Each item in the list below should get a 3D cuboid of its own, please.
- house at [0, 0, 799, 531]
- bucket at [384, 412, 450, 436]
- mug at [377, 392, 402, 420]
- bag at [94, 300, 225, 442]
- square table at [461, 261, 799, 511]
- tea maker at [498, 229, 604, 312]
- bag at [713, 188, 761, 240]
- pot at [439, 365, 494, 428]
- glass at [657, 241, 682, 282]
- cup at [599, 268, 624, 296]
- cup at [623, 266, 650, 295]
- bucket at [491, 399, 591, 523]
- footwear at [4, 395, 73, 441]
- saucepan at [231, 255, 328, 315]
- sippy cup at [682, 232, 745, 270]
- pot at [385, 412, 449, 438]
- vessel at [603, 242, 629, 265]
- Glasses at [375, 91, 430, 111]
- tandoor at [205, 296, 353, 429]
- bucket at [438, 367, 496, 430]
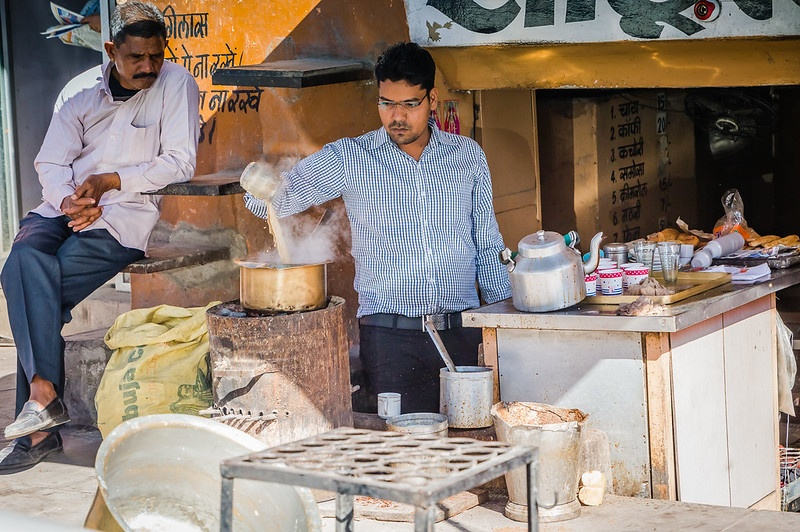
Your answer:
[{"bbox_3d":[-0.084,-0.045,5.634,3.888,3.463,1.280,5,17,23],"label":"house"},{"bbox_3d":[0.096,0.898,4.729,0.238,0.094,0.244,1,2,0],"label":"bucket"},{"bbox_3d":[-0.057,0.832,4.988,0.142,0.139,0.145,1,5,12],"label":"mug"},{"bbox_3d":[-1.694,0.804,6.058,0.916,0.915,0.677,-3,6,-23],"label":"bag"},{"bbox_3d":[1.491,0.154,5.244,1.331,1.291,2.589,1,5,31],"label":"square table"},{"bbox_3d":[0.908,0.013,5.059,0.568,0.423,0.423,-8,9,-20],"label":"tea maker"},{"bbox_3d":[2.635,-0.393,6.600,0.310,0.434,0.593,-4,-1,23],"label":"bag"},{"bbox_3d":[0.413,0.777,4.971,0.310,0.347,0.330,0,-1,0],"label":"pot"},{"bbox_3d":[1.737,-0.015,5.400,0.247,0.260,0.257,-1,0,24],"label":"glass"},{"bbox_3d":[1.292,0.106,5.114,0.149,0.145,0.145,-2,0,0],"label":"cup"},{"bbox_3d":[1.462,0.095,5.194,0.145,0.148,0.158,0,1,0],"label":"cup"},{"bbox_3d":[0.757,1.053,4.438,0.607,0.619,0.580,-1,-1,0],"label":"bucket"},{"bbox_3d":[-2.426,1.039,5.727,0.193,0.203,0.502,-12,-1,39],"label":"footwear"},{"bbox_3d":[-0.682,0.148,4.865,0.546,0.309,0.686,-4,-2,20],"label":"saucepan"},{"bbox_3d":[2.353,-0.133,6.176,0.468,0.148,0.146,-9,-11,43],"label":"sippy cup"},{"bbox_3d":[0.096,0.899,4.726,0.250,0.101,0.257,1,2,0],"label":"pot"},{"bbox_3d":[1.490,-0.081,5.725,0.138,0.132,0.142,1,4,7],"label":"vessel"},{"bbox_3d":[0.031,-1.051,5.413,0.332,0.092,0.152,-4,-1,1],"label":"Glasses"},{"bbox_3d":[-0.685,0.502,4.978,0.723,0.830,0.742,-1,1,-3],"label":"tandoor"},{"bbox_3d":[0.395,0.775,4.919,0.309,0.357,0.335,0,-1,0],"label":"bucket"}]
